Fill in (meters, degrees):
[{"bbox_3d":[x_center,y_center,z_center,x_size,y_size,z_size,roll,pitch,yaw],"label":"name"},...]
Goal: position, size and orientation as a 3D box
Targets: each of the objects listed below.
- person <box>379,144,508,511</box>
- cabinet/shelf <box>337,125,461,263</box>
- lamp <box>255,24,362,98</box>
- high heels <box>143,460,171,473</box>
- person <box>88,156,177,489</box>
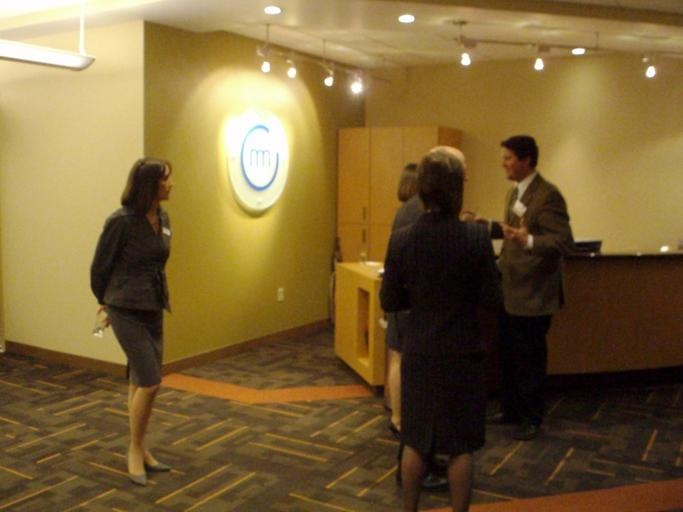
[{"bbox_3d":[0.501,0.432,2.842,0.605,1.980,0.311,0,7,3],"label":"person"},{"bbox_3d":[0.703,-0.717,8.399,1.423,2.713,0.781,3,24,21],"label":"cabinet/shelf"},{"bbox_3d":[-0.424,-2.557,7.240,1.296,0.551,0.205,-2,1,-13],"label":"lamp"},{"bbox_3d":[-1.304,1.465,3.847,0.144,0.041,0.073,1,3,-11],"label":"high heels"},{"bbox_3d":[-1.423,0.412,3.806,0.470,2.171,0.438,3,8,25],"label":"person"}]
